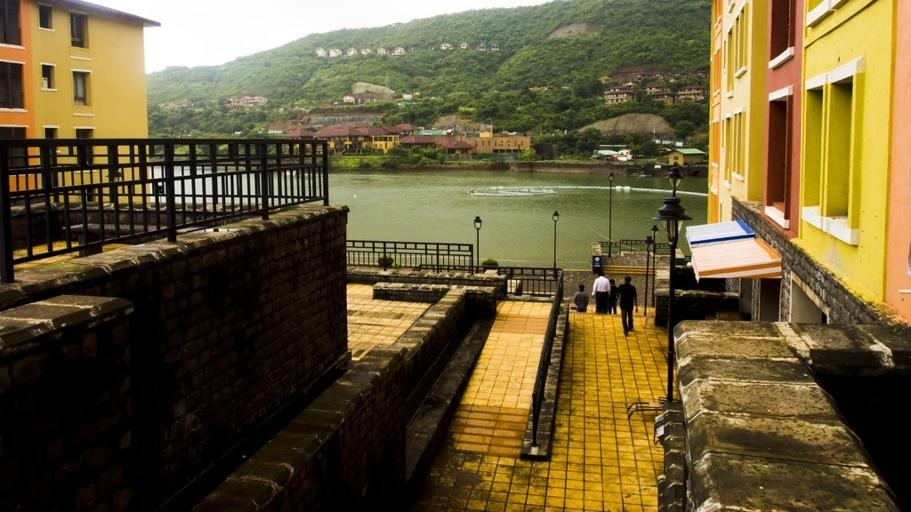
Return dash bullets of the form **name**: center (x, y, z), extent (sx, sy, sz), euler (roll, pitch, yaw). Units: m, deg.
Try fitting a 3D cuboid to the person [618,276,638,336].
- **person**: center (4.124, 1.234, 15.890), extent (0.309, 1.075, 1.465), euler (0, 13, 16)
